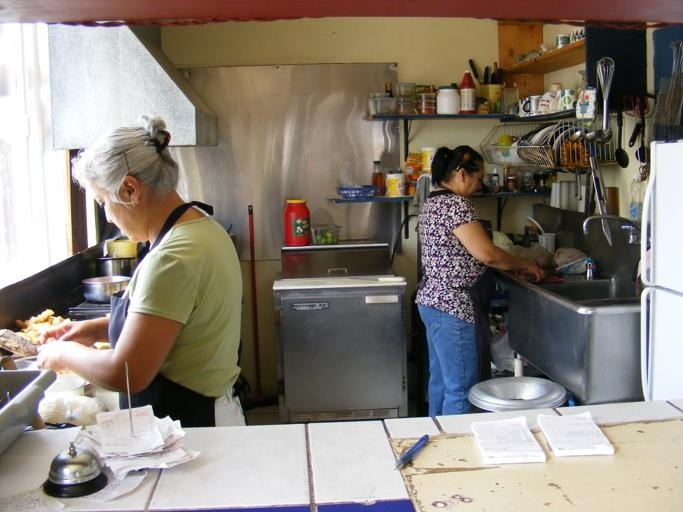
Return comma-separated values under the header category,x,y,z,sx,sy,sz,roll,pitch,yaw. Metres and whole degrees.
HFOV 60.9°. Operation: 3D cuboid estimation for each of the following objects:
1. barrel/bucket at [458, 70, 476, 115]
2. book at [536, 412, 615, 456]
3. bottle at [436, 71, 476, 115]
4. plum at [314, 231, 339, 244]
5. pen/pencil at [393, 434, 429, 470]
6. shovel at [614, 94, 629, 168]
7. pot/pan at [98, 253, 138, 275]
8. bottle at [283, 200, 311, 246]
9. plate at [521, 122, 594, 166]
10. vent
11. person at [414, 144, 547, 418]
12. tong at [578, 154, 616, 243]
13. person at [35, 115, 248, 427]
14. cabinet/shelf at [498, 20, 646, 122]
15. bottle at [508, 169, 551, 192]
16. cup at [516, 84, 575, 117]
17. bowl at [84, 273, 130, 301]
category,x,y,z,sx,sy,sz,roll,pitch,yaw
barrel/bucket,0.808,-1.035,3.684,0.139,0.274,0.143,-4,14,1
book,0.596,0.451,1.491,0.157,0.021,0.183,0,15,2
bottle,0.727,-1.004,3.640,0.322,0.320,0.185,1,4,-1
plum,-0.103,-0.127,3.742,0.153,0.091,0.072,-1,15,1
pen/pencil,0.185,0.474,1.442,0.029,0.025,0.212,2,16,29
shovel,1.395,-0.599,2.904,0.069,0.281,0.060,-10,14,-39
pot/pan,-1.098,0.042,2.876,0.176,0.120,0.171,-5,9,-41
bottle,-0.279,-0.217,3.710,0.176,0.292,0.185,-1,14,0
plate,1.185,-0.594,3.196,0.273,0.122,0.286,-5,3,-20
vent,-1.059,-1.024,3.290,0.748,0.598,0.731,7,13,1
person,0.636,0.152,3.034,0.477,1.422,0.469,-13,18,-37
tong,1.351,-0.305,3.056,0.038,0.480,0.051,5,-11,-41
person,-0.574,0.113,1.709,0.536,1.012,0.361,-3,15,-8
cabinet/shelf,1.293,-1.125,3.336,0.372,0.551,1.255,-3,15,-7
bottle,1.218,-0.491,3.769,0.188,0.117,0.189,1,6,0
cup,1.204,-0.886,3.396,0.133,0.149,0.367,-8,2,-36
bowl,-1.076,0.144,2.684,0.201,0.103,0.227,0,1,-5
